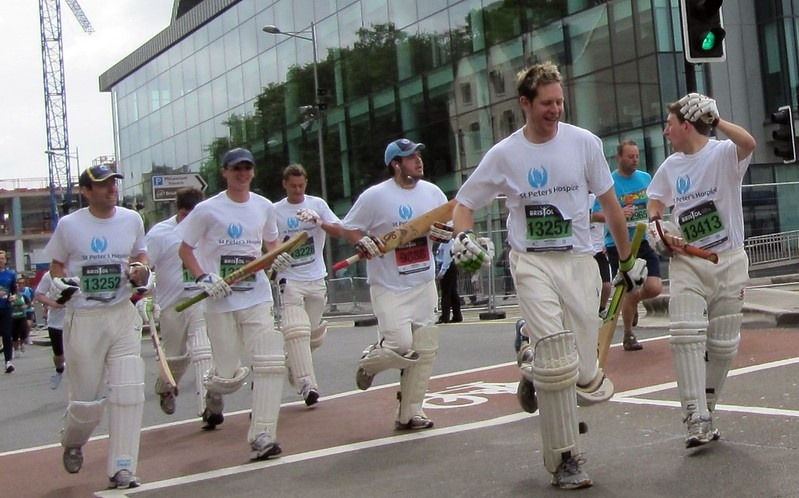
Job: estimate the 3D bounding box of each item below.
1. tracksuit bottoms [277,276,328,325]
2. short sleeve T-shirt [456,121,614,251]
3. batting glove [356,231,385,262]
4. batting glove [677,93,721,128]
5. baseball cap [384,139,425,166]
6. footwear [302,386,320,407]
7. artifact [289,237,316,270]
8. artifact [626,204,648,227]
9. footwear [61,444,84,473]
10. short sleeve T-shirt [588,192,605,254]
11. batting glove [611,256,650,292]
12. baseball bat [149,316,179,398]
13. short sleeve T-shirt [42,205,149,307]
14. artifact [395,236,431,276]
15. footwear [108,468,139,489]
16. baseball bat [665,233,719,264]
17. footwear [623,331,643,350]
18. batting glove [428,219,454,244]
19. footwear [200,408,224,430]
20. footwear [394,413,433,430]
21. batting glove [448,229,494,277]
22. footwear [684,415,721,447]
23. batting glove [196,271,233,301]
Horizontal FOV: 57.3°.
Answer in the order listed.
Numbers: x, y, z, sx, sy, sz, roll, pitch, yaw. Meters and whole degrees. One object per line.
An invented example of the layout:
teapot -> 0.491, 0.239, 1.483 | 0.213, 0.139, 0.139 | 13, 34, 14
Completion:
tracksuit bottoms -> -1.360, 0.694, 10.175 | 0.790, 0.965, 0.336 | 1, -4, -40
short sleeve T-shirt -> 1.207, -0.528, 6.518 | 1.460, 1.173, 0.500 | -2, 15, 8
batting glove -> -0.330, -0.014, 8.066 | 0.276, 0.219, 0.126 | -8, 24, 27
batting glove -> 2.895, -1.284, 6.936 | 0.264, 0.192, 0.370 | 12, -2, 43
baseball cap -> 0.010, -1.190, 8.416 | 0.433, 0.245, 0.317 | -23, 4, 20
footwear -> -1.134, 1.875, 9.325 | 0.135, 0.141, 0.310 | -13, -28, -19
artifact -> -1.381, 0.071, 10.305 | 0.401, 0.304, 0.409 | -10, -3, 4
artifact -> 3.409, -0.500, 10.513 | 0.404, 0.420, 0.134 | 1, -5, -8
footwear -> -3.351, 2.128, 7.463 | 0.138, 0.354, 0.165 | -5, 1, -30
short sleeve T-shirt -> 3.468, -0.354, 12.802 | 0.295, 0.524, 0.387 | 3, 16, 14
batting glove -> 2.126, 0.248, 6.643 | 0.126, 0.248, 0.175 | 25, -54, -38
baseball bat -> -2.864, 1.146, 8.623 | 0.135, 1.022, 0.108 | -16, -12, -27
short sleeve T-shirt -> -3.142, 0.108, 7.578 | 1.114, 1.090, 0.646 | -5, 16, -37
artifact -> 0.150, 0.083, 8.165 | 0.406, 0.423, 0.110 | -15, -28, -6
footwear -> -2.642, 2.184, 6.973 | 0.291, 0.137, 0.145 | -4, -5, 35
baseball bat -> 2.750, -0.007, 6.836 | 0.403, 0.107, 0.125 | 22, 45, 26
footwear -> 3.430, 1.371, 10.788 | 0.149, 0.182, 0.413 | -2, -8, -4
batting glove -> 0.488, -0.200, 8.287 | 0.198, 0.161, 0.273 | 3, 10, 16
footwear -> -2.323, 2.088, 9.061 | 0.177, 0.229, 0.332 | 1, 4, 1
footwear -> 0.183, 1.854, 7.950 | 0.437, 0.211, 0.164 | -4, -4, 13
batting glove -> 0.581, 0.067, 6.305 | 0.347, 0.223, 0.471 | -9, -21, -9
footwear -> 2.671, 1.590, 6.469 | 0.249, 0.251, 0.403 | -5, 2, 30
batting glove -> -1.961, 0.390, 7.707 | 0.236, 0.317, 0.144 | -46, 4, 1
